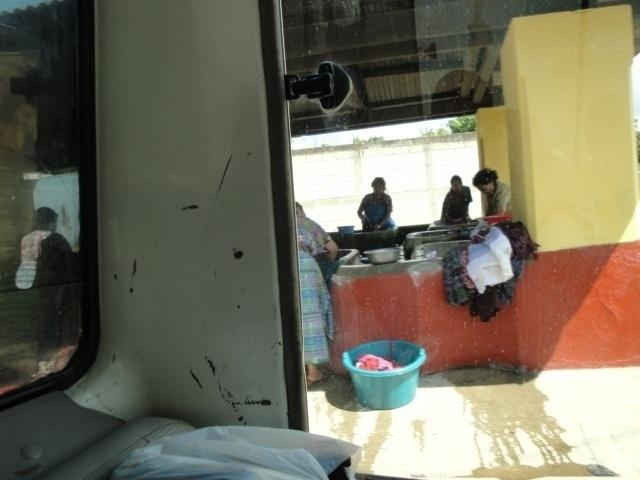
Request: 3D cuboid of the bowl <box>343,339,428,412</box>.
[{"bbox_3d":[0.206,0.396,1.717,0.198,0.124,0.209,-4,9,1],"label":"bowl"}]
